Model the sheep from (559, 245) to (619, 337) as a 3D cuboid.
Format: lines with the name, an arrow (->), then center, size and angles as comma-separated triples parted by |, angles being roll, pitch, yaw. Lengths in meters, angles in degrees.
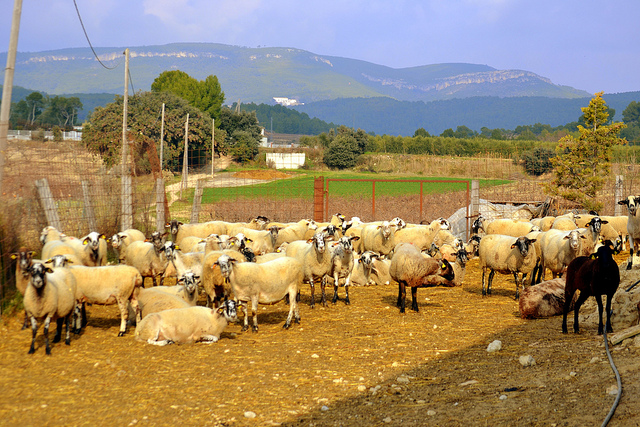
sheep -> 6.963, 1.935, 18.928 | 0.804, 2.341, 1.423 | -4, 6, -34

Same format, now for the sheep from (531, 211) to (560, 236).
sheep -> 8.495, 0.483, 28.072 | 0.644, 1.174, 2.067 | 0, 0, -13

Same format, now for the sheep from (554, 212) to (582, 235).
sheep -> 8.839, 0.359, 26.263 | 0.525, 0.706, 1.350 | 14, 23, 35

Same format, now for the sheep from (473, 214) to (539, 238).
sheep -> 6.927, 0.531, 28.151 | 2.757, 1.376, 0.715 | 2, 8, 33
